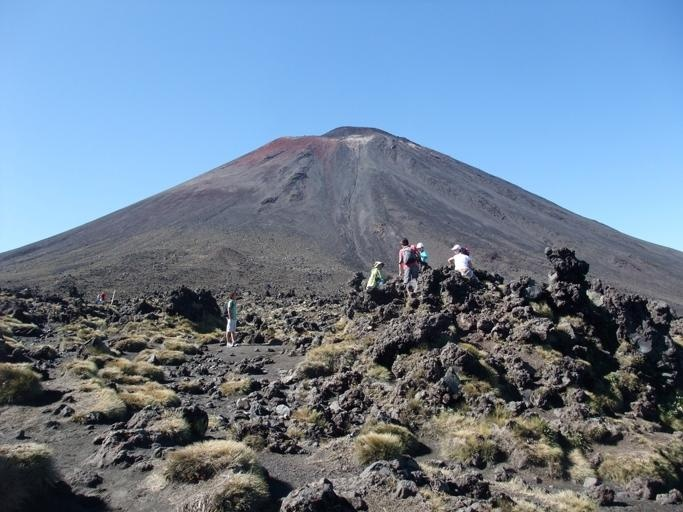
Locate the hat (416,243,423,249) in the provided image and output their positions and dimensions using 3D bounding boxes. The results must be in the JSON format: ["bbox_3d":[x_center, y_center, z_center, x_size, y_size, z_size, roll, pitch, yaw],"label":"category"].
[{"bbox_3d":[2.963,-0.460,20.370,0.221,0.214,0.278,0,-14,-8],"label":"hat"}]

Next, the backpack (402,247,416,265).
[{"bbox_3d":[2.337,-0.024,18.775,0.577,0.625,0.359,1,-18,0],"label":"backpack"}]
